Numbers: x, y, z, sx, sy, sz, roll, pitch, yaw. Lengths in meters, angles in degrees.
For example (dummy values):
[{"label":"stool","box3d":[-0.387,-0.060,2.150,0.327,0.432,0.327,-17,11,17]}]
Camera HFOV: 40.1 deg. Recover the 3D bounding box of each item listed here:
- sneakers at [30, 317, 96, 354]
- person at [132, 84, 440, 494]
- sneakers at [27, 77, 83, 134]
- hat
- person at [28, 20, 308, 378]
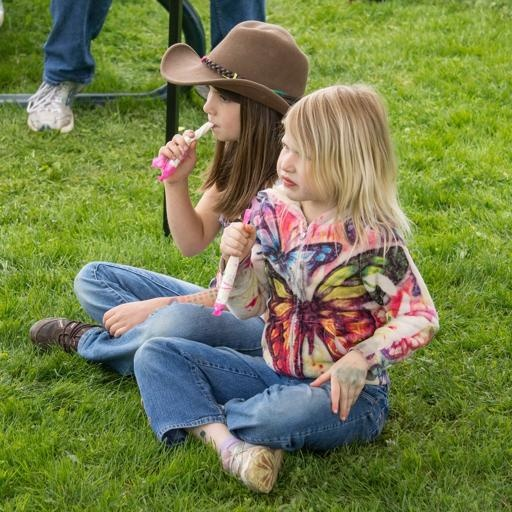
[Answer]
[{"label":"sneakers","box3d":[-0.744,0.301,2.634,0.274,0.107,0.111,0,1,-13]},{"label":"person","box3d":[0.064,0.037,2.107,0.845,1.098,0.612,2,7,0]},{"label":"sneakers","box3d":[-1.344,-0.978,4.609,0.189,0.199,0.492,9,29,-13]},{"label":"hat","box3d":[-0.061,-0.628,2.333,0.435,0.199,0.358,16,29,-23]},{"label":"person","box3d":[-0.281,-0.165,2.468,0.944,1.231,0.802,0,16,-16]}]
